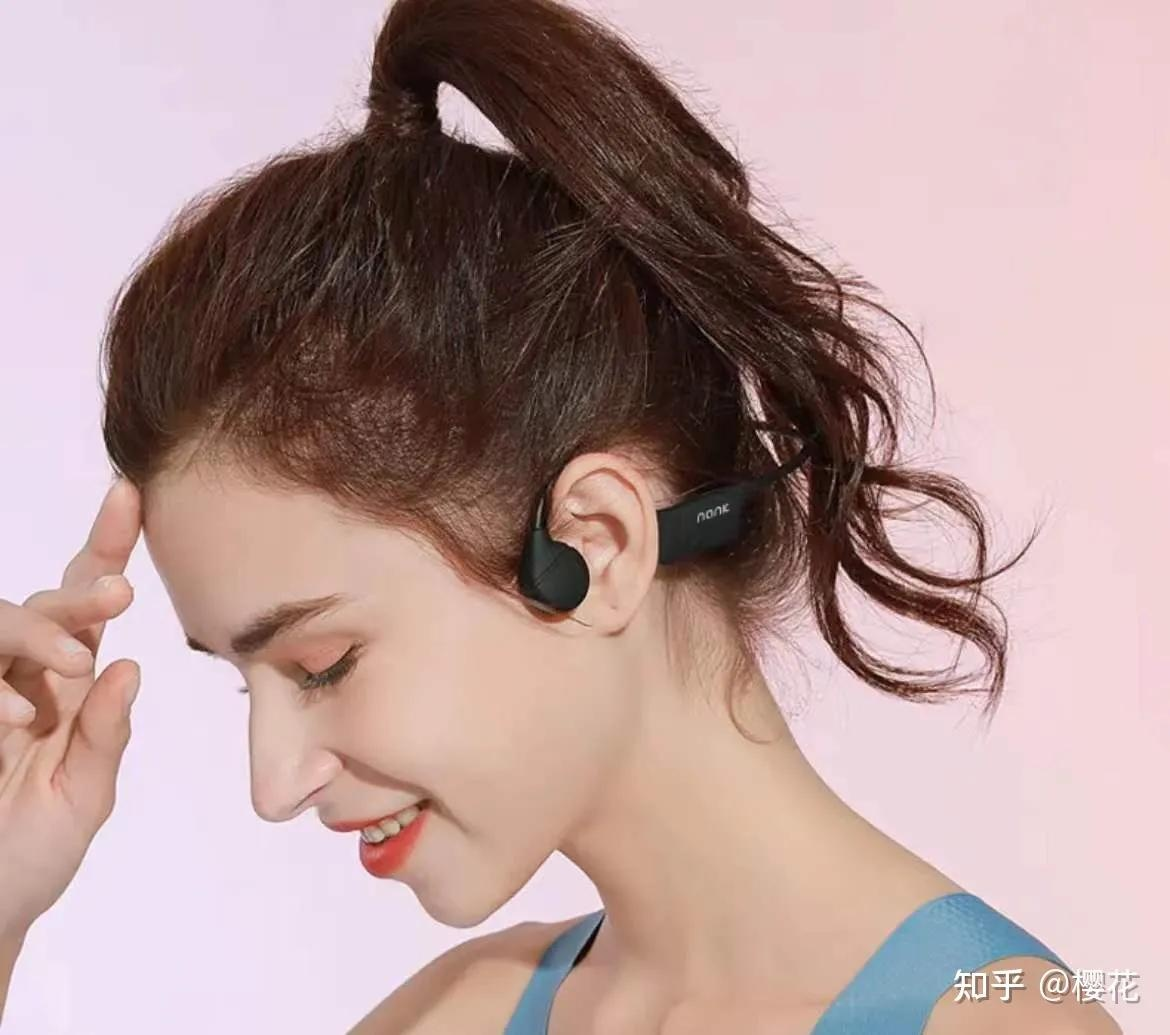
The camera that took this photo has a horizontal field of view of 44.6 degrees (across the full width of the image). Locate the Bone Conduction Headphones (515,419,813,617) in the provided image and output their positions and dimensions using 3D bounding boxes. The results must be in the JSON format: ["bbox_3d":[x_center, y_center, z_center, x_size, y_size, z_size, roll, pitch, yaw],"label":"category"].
[{"bbox_3d":[0.089,0.005,1.707,0.342,0.064,0.166,-17,5,-17],"label":"Bone Conduction Headphones"}]
